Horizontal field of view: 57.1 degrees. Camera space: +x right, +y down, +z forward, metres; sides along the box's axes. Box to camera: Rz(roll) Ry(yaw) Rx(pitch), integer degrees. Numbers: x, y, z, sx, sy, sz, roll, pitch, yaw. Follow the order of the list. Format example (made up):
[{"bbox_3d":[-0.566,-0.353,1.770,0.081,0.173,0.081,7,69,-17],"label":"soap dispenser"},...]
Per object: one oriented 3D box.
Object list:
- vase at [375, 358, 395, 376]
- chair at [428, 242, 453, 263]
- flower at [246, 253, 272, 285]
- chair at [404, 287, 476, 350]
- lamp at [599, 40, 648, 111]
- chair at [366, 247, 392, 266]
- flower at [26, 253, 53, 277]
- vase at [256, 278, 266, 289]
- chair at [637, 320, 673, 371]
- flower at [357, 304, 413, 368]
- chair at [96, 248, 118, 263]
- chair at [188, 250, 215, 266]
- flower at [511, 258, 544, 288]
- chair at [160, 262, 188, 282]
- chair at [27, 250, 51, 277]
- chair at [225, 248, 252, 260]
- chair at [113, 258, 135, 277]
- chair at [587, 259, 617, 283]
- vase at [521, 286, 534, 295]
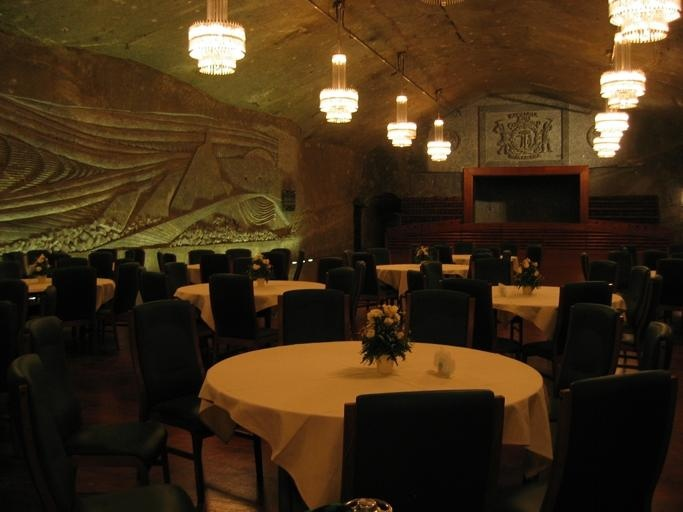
[{"bbox_3d":[0.245,0.611,3.499,0.091,0.078,0.089,-1,2,-9],"label":"vase"},{"bbox_3d":[1.735,-0.058,11.132,0.440,0.541,0.392,-1,6,-16],"label":"chair"},{"bbox_3d":[-0.877,0.129,6.772,0.287,0.394,0.296,-3,-2,40],"label":"flower"},{"bbox_3d":[0.749,0.440,4.678,0.389,0.758,0.432,0,-1,20],"label":"chair"},{"bbox_3d":[4.291,-2.898,9.551,0.603,0.981,1.470,1,3,25],"label":"lamp"},{"bbox_3d":[0.657,-0.016,10.905,0.269,0.412,0.328,0,-1,-23],"label":"chair"},{"bbox_3d":[-3.650,0.107,7.545,0.258,0.347,0.246,1,9,-8],"label":"flower"},{"bbox_3d":[-0.872,0.285,6.761,0.088,0.074,0.093,-1,0,-5],"label":"vase"},{"bbox_3d":[1.755,0.519,3.495,0.142,0.260,0.479,1,3,27],"label":"chair"},{"bbox_3d":[0.262,0.432,3.604,0.293,0.408,0.339,-2,-3,7],"label":"flower"},{"bbox_3d":[-3.441,-0.005,9.269,0.260,0.388,0.303,1,0,-19],"label":"chair"},{"bbox_3d":[-2.136,0.016,9.510,0.264,0.407,0.317,0,2,-35],"label":"chair"},{"bbox_3d":[1.852,0.132,6.306,0.303,0.385,0.322,-8,-9,21],"label":"flower"},{"bbox_3d":[-2.028,0.176,7.596,0.256,0.363,0.240,2,3,35],"label":"chair"},{"bbox_3d":[-3.700,0.087,7.640,0.256,0.368,0.298,3,12,3],"label":"chair"},{"bbox_3d":[-1.675,-0.039,10.162,0.233,0.179,0.133,2,11,-2],"label":"chair"},{"bbox_3d":[-2.586,0.135,7.441,0.205,0.289,0.222,0,5,-28],"label":"chair"},{"bbox_3d":[3.277,0.185,7.872,0.304,0.484,0.386,-1,-3,30],"label":"chair"},{"bbox_3d":[1.871,0.336,6.275,0.090,0.071,0.087,-1,3,5],"label":"vase"}]
